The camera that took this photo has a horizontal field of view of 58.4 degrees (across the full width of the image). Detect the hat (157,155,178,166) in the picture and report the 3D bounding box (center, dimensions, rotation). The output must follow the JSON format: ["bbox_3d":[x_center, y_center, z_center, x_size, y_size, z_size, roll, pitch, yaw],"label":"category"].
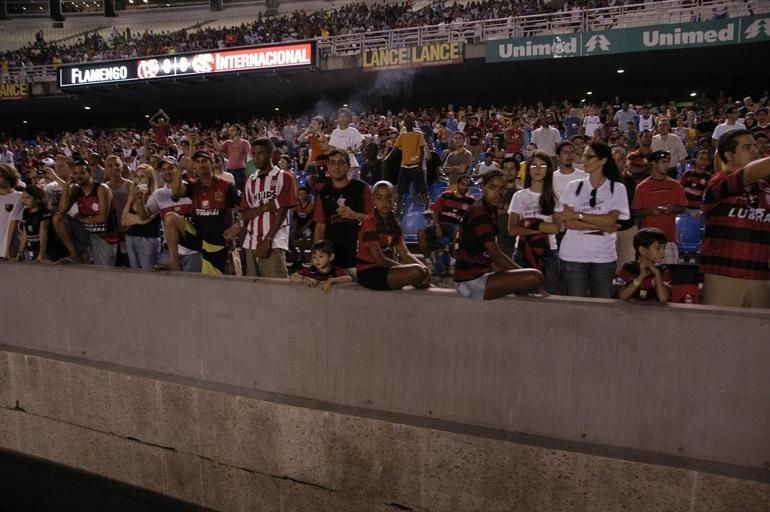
[{"bbox_3d":[-3.376,-1.504,10.771,0.253,0.153,0.382,-1,10,0],"label":"hat"}]

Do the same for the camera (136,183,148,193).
[{"bbox_3d":[-3.661,-1.033,10.359,0.120,0.050,0.107,-10,-29,-15],"label":"camera"}]
